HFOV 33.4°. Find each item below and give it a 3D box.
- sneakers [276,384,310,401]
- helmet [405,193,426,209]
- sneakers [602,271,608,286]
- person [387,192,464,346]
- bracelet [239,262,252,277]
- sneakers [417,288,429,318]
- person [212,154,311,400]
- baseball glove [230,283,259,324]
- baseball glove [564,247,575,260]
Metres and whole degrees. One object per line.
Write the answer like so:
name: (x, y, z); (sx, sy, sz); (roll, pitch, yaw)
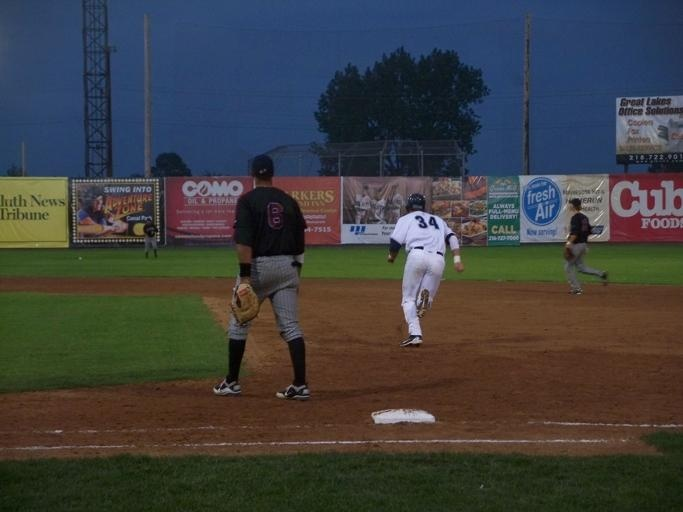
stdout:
sneakers: (-0.599, 1.670, 14.104); (0.445, 0.220, 0.170); (2, -4, 9)
helmet: (1.098, -0.815, 16.816); (0.234, 0.284, 0.293); (1, 13, -5)
sneakers: (5.264, 0.426, 22.767); (0.104, 0.339, 0.147); (-3, 39, 12)
person: (1.197, 0.191, 16.624); (0.970, 2.147, 0.789); (-2, 12, -13)
bracelet: (-1.174, 0.148, 13.918); (0.149, 0.167, 0.149); (0, -5, -3)
sneakers: (1.186, 0.663, 16.529); (0.150, 0.410, 0.177); (5, 1, 5)
person: (-0.870, 0.259, 14.126); (0.940, 2.962, 0.790); (0, 12, -2)
baseball glove: (-1.196, 0.577, 13.899); (0.373, 0.478, 0.156); (20, -3, -10)
baseball glove: (4.376, -0.095, 21.824); (0.161, 0.326, 0.457); (2, 12, 9)
